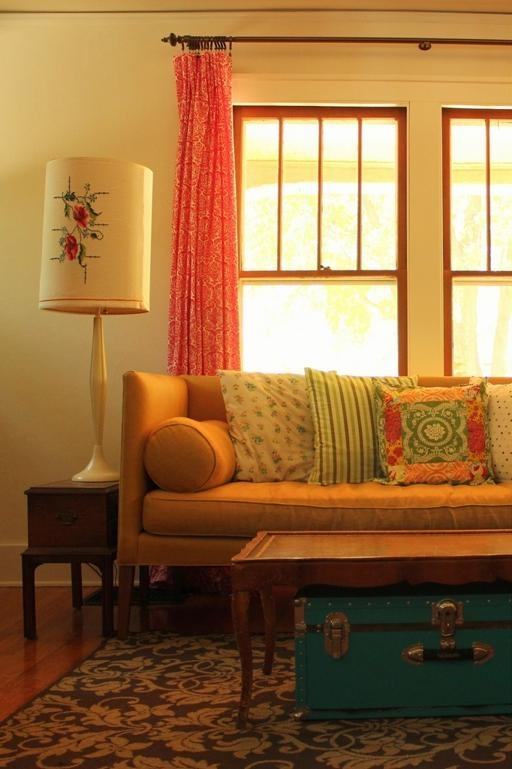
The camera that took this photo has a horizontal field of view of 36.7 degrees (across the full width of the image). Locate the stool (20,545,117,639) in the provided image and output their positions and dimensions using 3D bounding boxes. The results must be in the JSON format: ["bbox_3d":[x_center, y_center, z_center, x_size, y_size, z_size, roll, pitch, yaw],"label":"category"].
[{"bbox_3d":[-0.673,0.730,2.857,0.373,0.339,0.354,0,-9,-4],"label":"stool"}]

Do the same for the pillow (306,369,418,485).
[{"bbox_3d":[0.394,0.181,2.933,0.444,0.392,0.155,1,-24,-8],"label":"pillow"}]

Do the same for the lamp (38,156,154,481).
[{"bbox_3d":[-0.627,-0.244,3.092,0.459,1.245,0.369,0,-2,-20],"label":"lamp"}]
